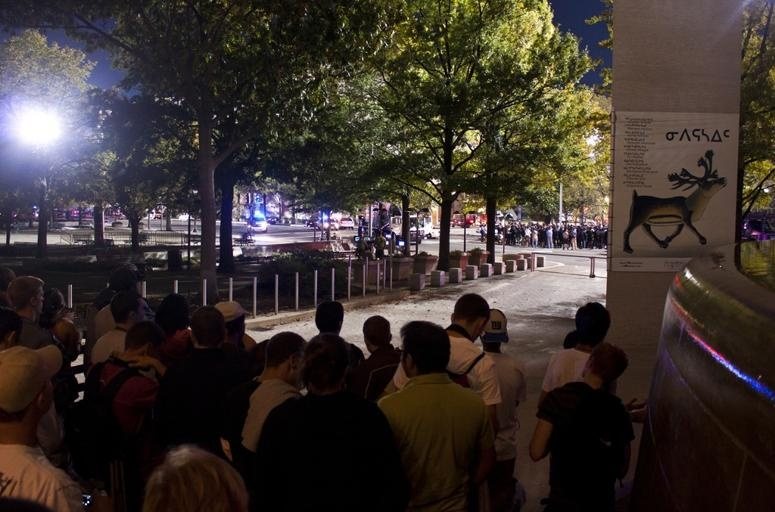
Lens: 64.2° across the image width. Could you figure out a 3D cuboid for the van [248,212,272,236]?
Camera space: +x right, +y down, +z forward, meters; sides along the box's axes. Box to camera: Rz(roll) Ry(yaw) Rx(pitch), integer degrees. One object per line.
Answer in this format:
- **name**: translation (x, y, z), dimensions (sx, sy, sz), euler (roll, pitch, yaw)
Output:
- **van**: translation (-14.159, -3.350, 66.822), dimensions (1.533, 1.615, 3.422), euler (0, -1, -8)
